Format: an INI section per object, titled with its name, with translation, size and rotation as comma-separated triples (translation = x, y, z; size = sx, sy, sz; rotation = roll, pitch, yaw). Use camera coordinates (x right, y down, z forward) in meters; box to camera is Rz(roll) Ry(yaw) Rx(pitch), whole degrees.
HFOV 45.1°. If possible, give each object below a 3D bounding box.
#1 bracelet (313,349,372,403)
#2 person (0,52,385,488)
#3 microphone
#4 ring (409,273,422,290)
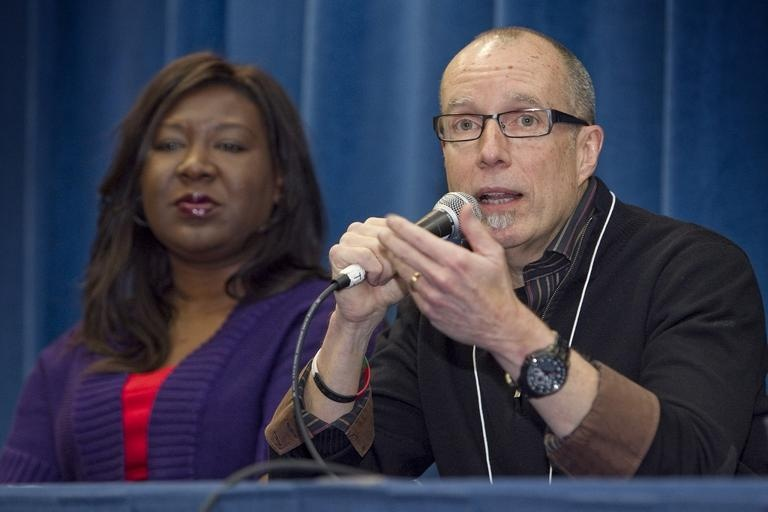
[bracelet]
translation = -0.140, 0.369, 2.821
size = 0.176, 0.155, 0.087
rotation = -2, 4, -5
[person]
translation = -0.635, 0.072, 3.229
size = 1.355, 1.758, 1.105
rotation = -3, -22, 9
[microphone]
translation = 0.140, -0.087, 2.683
size = 0.173, 0.170, 0.640
rotation = 41, 46, 17
[ring]
translation = 0.081, 0.069, 2.514
size = 0.030, 0.030, 0.029
rotation = 9, 47, -10
